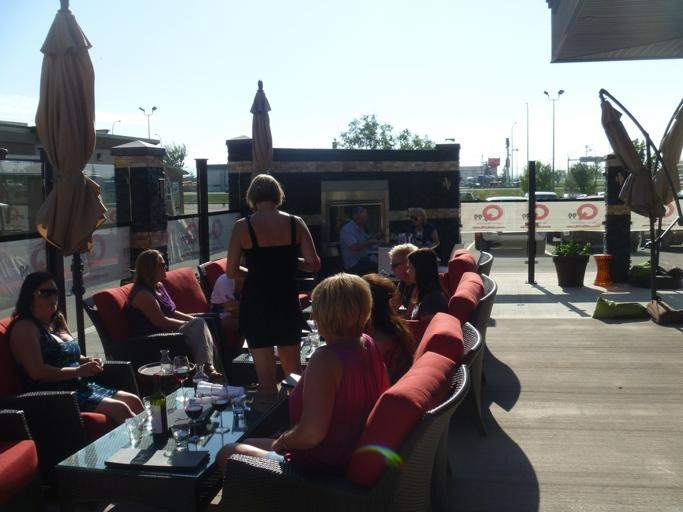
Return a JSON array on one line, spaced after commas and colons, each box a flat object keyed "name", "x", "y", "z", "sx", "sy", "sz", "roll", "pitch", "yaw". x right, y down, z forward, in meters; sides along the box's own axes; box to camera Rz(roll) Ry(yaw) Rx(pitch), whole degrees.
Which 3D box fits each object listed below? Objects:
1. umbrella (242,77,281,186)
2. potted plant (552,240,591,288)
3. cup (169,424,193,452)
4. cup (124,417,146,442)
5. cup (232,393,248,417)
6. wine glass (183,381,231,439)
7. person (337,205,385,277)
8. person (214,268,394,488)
[{"name": "umbrella", "x": -1.191, "y": -1.898, "z": 8.871, "sx": 0.317, "sy": 1.399, "sz": 0.512, "roll": 2, "pitch": 10, "yaw": -9}, {"name": "potted plant", "x": 4.803, "y": 0.127, "z": 12.452, "sx": 0.809, "sy": 1.225, "sz": 0.904, "roll": 3, "pitch": 5, "yaw": 15}, {"name": "cup", "x": -1.102, "y": 1.253, "z": 4.111, "sx": 0.126, "sy": 0.178, "sz": 0.148, "roll": 1, "pitch": 3, "yaw": 4}, {"name": "cup", "x": -1.486, "y": 1.264, "z": 4.303, "sx": 0.117, "sy": 0.165, "sz": 0.143, "roll": 1, "pitch": -15, "yaw": -5}, {"name": "cup", "x": -0.797, "y": 1.170, "z": 4.640, "sx": 0.110, "sy": 0.206, "sz": 0.124, "roll": -6, "pitch": -6, "yaw": 42}, {"name": "wine glass", "x": -1.028, "y": 1.153, "z": 4.473, "sx": 0.281, "sy": 0.510, "sz": 0.273, "roll": 5, "pitch": 10, "yaw": 9}, {"name": "person", "x": 0.444, "y": -0.398, "z": 11.555, "sx": 0.948, "sy": 2.065, "sz": 0.939, "roll": -3, "pitch": 12, "yaw": -3}, {"name": "person", "x": -0.149, "y": 0.734, "z": 3.545, "sx": 0.815, "sy": 1.237, "sz": 0.491, "roll": 7, "pitch": 10, "yaw": 18}]
